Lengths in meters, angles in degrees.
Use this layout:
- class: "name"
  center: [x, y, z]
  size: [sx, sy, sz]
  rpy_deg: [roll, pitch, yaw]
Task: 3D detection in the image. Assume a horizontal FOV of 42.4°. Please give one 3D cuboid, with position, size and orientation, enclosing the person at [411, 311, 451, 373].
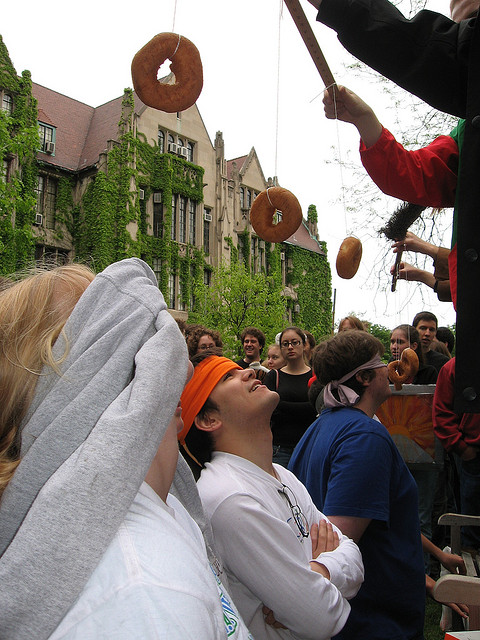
- class: "person"
  center: [2.218, 0.254, 7.235]
  size: [0.731, 0.654, 0.386]
  rpy_deg: [-1, -1, 27]

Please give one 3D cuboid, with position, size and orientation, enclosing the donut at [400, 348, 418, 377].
- class: "donut"
  center: [1.620, 0.410, 5.920]
  size: [0.071, 0.233, 0.235]
  rpy_deg: [8, 26, -12]

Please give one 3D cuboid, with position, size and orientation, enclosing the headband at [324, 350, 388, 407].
- class: "headband"
  center: [0.535, 0.273, 3.013]
  size: [0.284, 0.144, 0.222]
  rpy_deg: [-19, -9, -8]

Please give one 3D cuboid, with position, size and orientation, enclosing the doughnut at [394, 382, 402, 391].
- class: "doughnut"
  center: [1.427, 0.603, 5.578]
  size: [0.057, 0.061, 0.054]
  rpy_deg: [8, -2, -15]
